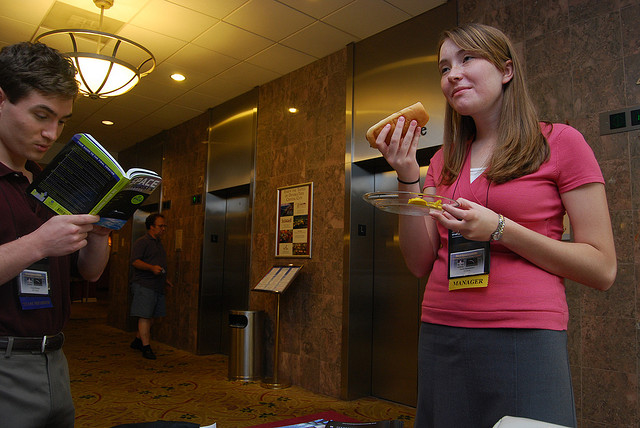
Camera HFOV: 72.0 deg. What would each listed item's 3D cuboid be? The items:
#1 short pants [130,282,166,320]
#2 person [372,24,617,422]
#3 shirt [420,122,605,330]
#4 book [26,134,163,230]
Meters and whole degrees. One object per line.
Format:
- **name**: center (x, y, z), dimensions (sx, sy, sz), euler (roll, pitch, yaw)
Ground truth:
- **short pants**: center (-2.565, 1.298, 6.626), dimensions (0.334, 0.528, 0.564), euler (-8, -16, 27)
- **person**: center (0.715, 0.020, 1.726), dimensions (0.717, 1.616, 0.395), euler (-4, -10, 34)
- **shirt**: center (0.773, 0.010, 1.959), dimensions (0.478, 0.879, 0.900), euler (5, -7, -29)
- **book**: center (-1.003, -0.130, 2.038), dimensions (0.534, 0.164, 0.559), euler (-17, -39, 1)
